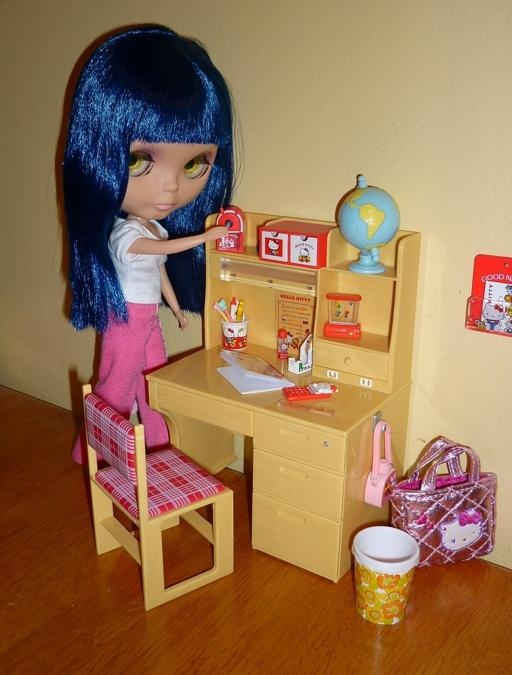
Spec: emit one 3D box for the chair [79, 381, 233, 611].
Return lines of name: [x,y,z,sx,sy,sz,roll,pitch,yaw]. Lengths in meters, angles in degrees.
chair: [-0.312,0.506,1.884,0.426,0.695,0.523,-9,16,-33]

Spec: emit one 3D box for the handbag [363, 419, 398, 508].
handbag: [0.429,0.453,1.860,0.095,0.392,0.270,3,14,15]

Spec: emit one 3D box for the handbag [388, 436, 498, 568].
handbag: [0.680,0.579,1.918,0.381,0.416,0.147,-2,4,-13]

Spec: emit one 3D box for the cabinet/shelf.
cabinet/shelf: [0.097,0.178,2.036,0.844,1.071,0.595,14,21,37]
